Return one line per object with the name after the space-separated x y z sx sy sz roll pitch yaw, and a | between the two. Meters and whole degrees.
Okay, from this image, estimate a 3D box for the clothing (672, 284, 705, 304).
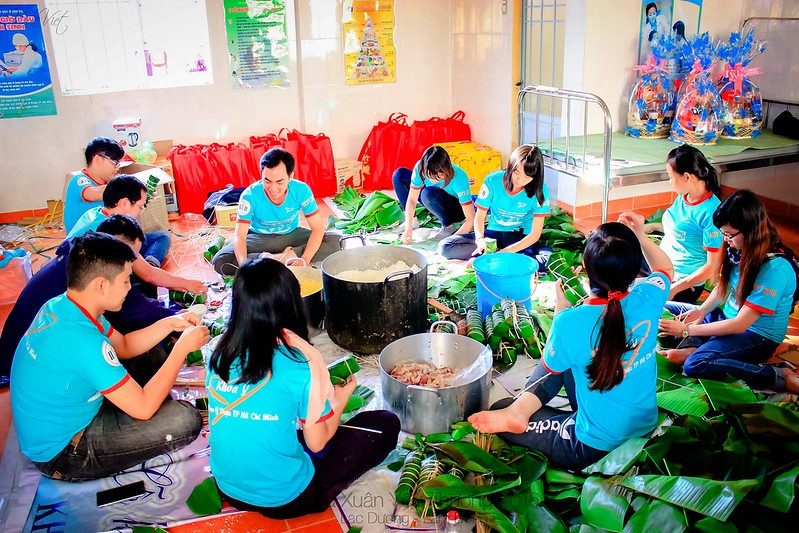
2.151 0.183 3.760 0.196 0.079 0.142 -8 11 -18 | clothing

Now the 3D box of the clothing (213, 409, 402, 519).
-0.618 1.116 2.861 1.217 0.300 0.868 -24 -20 20 | clothing

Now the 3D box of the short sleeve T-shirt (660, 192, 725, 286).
2.032 -0.177 3.502 0.271 0.479 0.475 -6 44 2 | short sleeve T-shirt

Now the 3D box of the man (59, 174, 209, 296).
-1.940 -0.328 3.977 1.192 0.824 0.705 -1 33 -32 | man

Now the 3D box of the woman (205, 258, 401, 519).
-0.510 0.579 2.649 0.954 1.166 0.877 1 14 3 | woman

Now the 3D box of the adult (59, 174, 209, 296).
-1.998 -0.260 3.882 1.031 0.758 0.731 1 12 -33 | adult

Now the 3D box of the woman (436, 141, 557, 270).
0.954 -0.522 4.396 0.999 1.019 0.755 11 29 14 | woman

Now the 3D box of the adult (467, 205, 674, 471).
0.956 0.433 2.913 1.176 1.273 0.769 -15 27 -12 | adult

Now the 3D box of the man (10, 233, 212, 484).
-1.539 0.490 2.915 1.023 1.204 0.931 8 16 1 | man

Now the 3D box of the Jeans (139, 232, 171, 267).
-2.234 -0.159 4.631 0.406 0.128 0.394 -7 30 -20 | Jeans

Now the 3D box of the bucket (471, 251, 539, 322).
0.760 0.082 3.814 0.509 0.382 0.470 -2 24 1 | bucket

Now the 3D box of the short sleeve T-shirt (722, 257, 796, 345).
2.153 0.195 3.043 0.240 0.423 0.400 1 30 19 | short sleeve T-shirt

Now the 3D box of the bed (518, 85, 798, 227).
2.661 -1.130 5.258 2.597 1.606 1.532 -9 20 -25 | bed

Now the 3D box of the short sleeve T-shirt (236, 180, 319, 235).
-1.119 -0.417 4.590 0.851 0.642 0.451 -2 60 -16 | short sleeve T-shirt

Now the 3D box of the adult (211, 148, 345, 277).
-1.062 -0.451 4.283 1.126 0.995 0.901 -11 35 -26 | adult

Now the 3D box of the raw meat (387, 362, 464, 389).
0.153 0.654 3.086 0.232 0.053 0.180 -5 17 -24 | raw meat

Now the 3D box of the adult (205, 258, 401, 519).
-0.587 0.590 2.635 0.975 1.122 0.845 7 16 24 | adult

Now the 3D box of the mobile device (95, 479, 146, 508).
-1.476 1.194 2.673 0.272 0.028 0.152 -11 12 -31 | mobile device

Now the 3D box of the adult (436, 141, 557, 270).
0.911 -0.543 4.421 1.034 1.020 0.728 6 28 6 | adult

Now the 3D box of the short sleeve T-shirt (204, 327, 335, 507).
-0.664 0.703 2.500 0.645 0.740 0.440 6 11 14 | short sleeve T-shirt

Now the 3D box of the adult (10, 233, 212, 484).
-1.594 0.480 2.934 0.997 1.166 0.904 5 17 -11 | adult

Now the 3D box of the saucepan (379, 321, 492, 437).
0.210 0.680 3.032 0.583 0.325 0.686 3 24 11 | saucepan

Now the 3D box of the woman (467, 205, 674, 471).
0.956 0.433 2.913 1.176 1.273 0.769 -15 27 -12 | woman

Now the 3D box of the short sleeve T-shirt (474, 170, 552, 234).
0.994 -0.542 4.456 0.583 0.468 0.314 14 42 12 | short sleeve T-shirt

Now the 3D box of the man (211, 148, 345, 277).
-1.047 -0.443 4.268 1.117 0.988 0.934 -10 34 -24 | man
